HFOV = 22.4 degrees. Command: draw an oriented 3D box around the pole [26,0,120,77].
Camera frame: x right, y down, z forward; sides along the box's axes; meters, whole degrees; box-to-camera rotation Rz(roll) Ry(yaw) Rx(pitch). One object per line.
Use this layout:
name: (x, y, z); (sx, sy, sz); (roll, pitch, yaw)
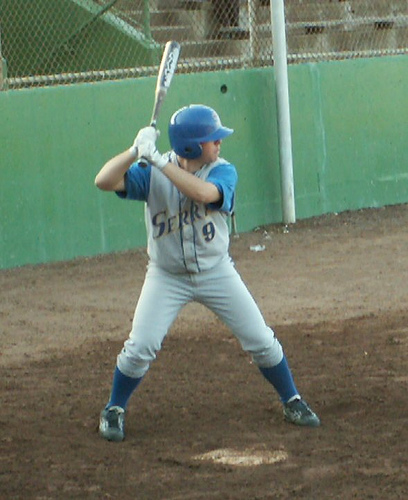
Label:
pole: (-1.250, -2.263, 10.762); (1.165, 0.737, 0.389); (10, 17, 34)

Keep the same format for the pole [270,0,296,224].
pole: (0.745, -1.268, 9.686); (0.267, 2.124, 0.236); (-3, 12, -10)

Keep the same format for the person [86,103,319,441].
person: (0.008, 0.135, 5.850); (1.181, 2.484, 0.719); (-1, 41, 2)

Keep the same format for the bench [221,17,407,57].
bench: (1.238, -2.199, 10.499); (2.145, 0.392, 0.483); (-15, 20, -35)

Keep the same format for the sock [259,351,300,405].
sock: (0.417, 0.744, 5.831); (0.217, 0.328, 0.130); (-7, 14, -25)
